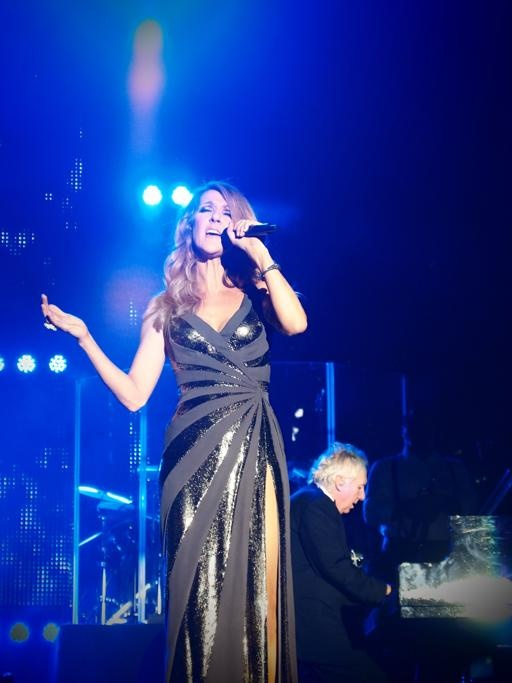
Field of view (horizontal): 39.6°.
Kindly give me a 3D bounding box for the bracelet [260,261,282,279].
[{"bbox_3d":[0.041,-0.193,1.914,0.043,0.018,0.041,-42,-10,22],"label":"bracelet"}]
